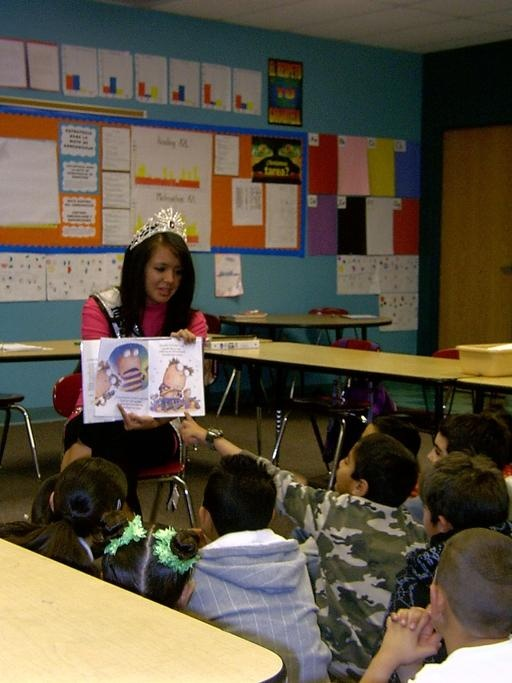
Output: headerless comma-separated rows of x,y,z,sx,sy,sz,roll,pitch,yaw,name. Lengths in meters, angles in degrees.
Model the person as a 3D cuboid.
-0.339,0.262,2.408,1.189,0.806,1.730,0,3,-35,person
